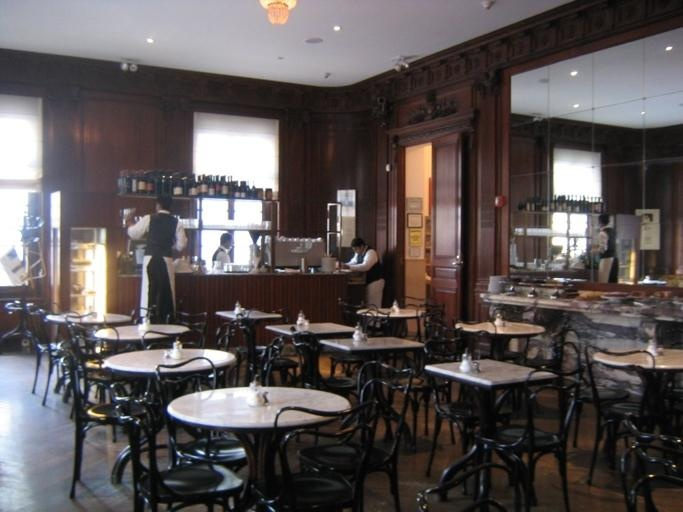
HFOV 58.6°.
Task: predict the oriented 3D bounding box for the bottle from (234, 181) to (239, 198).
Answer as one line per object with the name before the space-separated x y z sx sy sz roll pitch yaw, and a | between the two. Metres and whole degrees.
bottle | -1.639 -1.042 9.560 0.062 0.267 0.188 0 0 -13

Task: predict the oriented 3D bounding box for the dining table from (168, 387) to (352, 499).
dining table | -0.677 1.207 4.348 0.801 0.509 0.807 1 -2 -2

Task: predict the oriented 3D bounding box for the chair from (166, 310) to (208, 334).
chair | -2.100 0.876 8.182 0.438 0.558 0.378 1 -8 -7

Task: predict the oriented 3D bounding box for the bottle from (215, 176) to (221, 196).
bottle | -1.931 -1.096 9.519 0.081 0.330 0.273 0 0 -12

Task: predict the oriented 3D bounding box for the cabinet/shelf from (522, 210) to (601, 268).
cabinet/shelf | 3.123 -0.222 8.618 0.660 1.148 1.220 0 -1 -15

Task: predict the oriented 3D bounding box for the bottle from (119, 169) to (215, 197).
bottle | -2.645 -1.104 9.243 1.388 0.397 0.348 0 0 -18

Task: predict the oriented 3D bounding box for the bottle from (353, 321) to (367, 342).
bottle | 0.204 0.823 6.541 0.140 0.267 0.158 -3 2 -15

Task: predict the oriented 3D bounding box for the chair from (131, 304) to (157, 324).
chair | -2.645 0.790 8.162 0.299 0.374 0.263 1 3 -31

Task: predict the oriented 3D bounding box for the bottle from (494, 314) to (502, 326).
bottle | 1.846 0.752 7.150 0.117 0.132 0.114 -3 6 -9

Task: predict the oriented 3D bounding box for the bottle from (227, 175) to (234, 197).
bottle | -1.715 -1.038 9.511 0.113 0.241 0.103 0 0 0

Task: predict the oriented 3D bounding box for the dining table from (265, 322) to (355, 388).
dining table | -0.247 0.960 6.333 0.683 0.663 0.680 -1 4 -29

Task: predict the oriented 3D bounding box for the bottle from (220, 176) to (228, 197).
bottle | -1.823 -1.069 9.482 0.115 0.308 0.147 0 0 -21

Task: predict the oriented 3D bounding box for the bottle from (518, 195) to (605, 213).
bottle | 3.057 -0.707 8.518 0.077 0.195 1.380 0 0 -32

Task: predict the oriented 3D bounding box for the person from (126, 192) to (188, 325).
person | -2.613 0.042 8.703 0.471 1.810 0.623 0 0 41

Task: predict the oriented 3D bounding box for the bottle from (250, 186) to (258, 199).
bottle | -1.399 -0.994 9.683 0.117 0.204 0.315 0 0 -11

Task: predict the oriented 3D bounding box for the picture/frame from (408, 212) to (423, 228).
picture/frame | 1.385 -0.683 11.515 0.285 0.243 0.023 -1 1 -32

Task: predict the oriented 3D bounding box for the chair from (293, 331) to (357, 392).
chair | -0.134 1.106 6.019 0.605 0.836 0.561 -1 1 -19

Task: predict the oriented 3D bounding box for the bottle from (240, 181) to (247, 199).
bottle | -1.548 -1.034 9.580 0.116 0.291 0.207 0 0 -7

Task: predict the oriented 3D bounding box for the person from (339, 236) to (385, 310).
person | 0.403 0.491 10.989 0.879 1.590 0.638 -9 6 -41
